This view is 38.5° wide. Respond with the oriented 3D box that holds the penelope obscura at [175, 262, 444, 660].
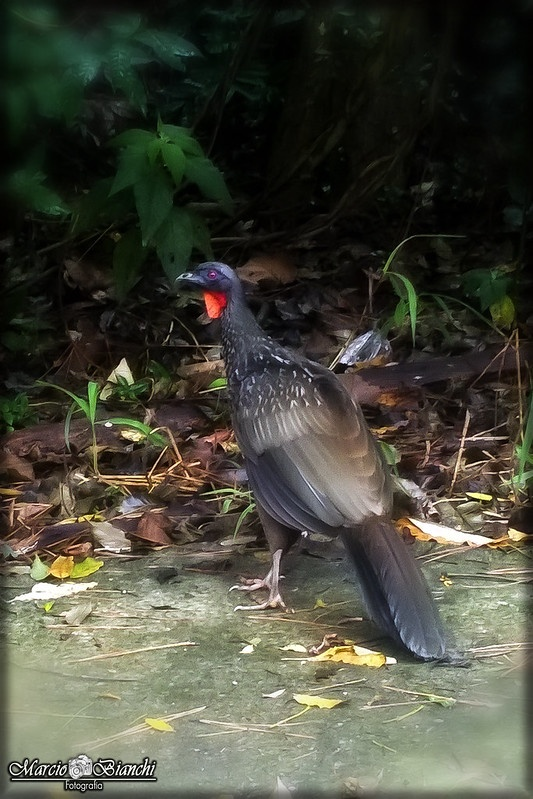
[{"bbox_3d":[0.228,0.175,3.040,0.567,1.131,1.690,-15,30,-22],"label":"penelope obscura"}]
